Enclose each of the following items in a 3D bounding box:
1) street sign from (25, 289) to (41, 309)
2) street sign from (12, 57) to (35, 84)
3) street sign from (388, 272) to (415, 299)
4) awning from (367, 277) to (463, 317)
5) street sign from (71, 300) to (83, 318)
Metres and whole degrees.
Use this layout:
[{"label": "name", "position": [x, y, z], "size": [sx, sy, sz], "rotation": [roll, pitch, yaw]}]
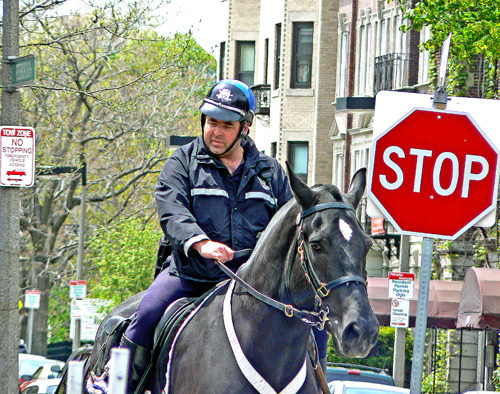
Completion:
[{"label": "street sign", "position": [-7.786, 3.684, 52.823], "size": [0.722, 1.017, 0.102], "rotation": [0, -6, -4]}, {"label": "street sign", "position": [-5.263, -2.924, 34.447], "size": [0.806, 0.604, 0.062], "rotation": [-6, -7, 40]}, {"label": "street sign", "position": [4.034, 2.388, 39.428], "size": [0.739, 0.742, 0.109], "rotation": [0, 6, -3]}, {"label": "awning", "position": [5.112, 2.868, 42.402], "size": [3.769, 1.006, 2.152], "rotation": [2, 7, -8]}, {"label": "street sign", "position": [-5.801, 3.767, 49.523], "size": [0.380, 0.592, 0.557], "rotation": [0, -4, -9]}]
